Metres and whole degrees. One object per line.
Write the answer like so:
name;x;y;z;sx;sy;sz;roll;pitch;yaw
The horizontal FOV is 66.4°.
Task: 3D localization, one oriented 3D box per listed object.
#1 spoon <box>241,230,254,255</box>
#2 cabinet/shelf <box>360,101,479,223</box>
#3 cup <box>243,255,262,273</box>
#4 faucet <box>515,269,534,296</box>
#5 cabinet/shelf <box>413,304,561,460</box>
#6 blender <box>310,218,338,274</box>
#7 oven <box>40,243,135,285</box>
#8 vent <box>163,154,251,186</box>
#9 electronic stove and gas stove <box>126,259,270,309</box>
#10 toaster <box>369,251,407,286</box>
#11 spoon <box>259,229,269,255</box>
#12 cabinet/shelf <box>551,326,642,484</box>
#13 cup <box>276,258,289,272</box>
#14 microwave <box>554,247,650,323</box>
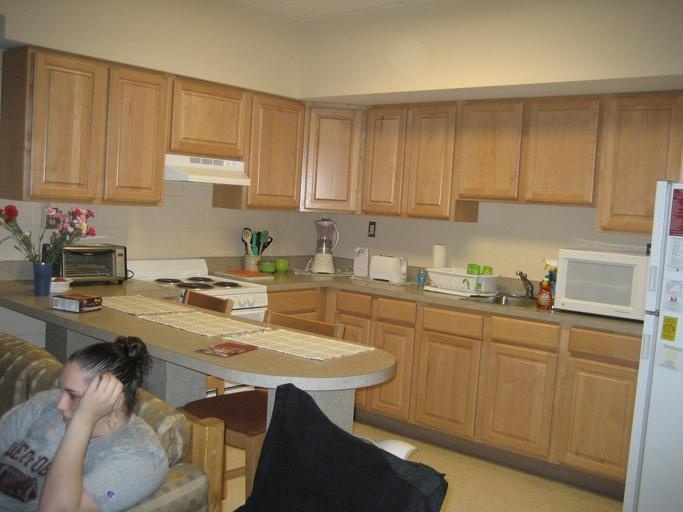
spoon;-0.825;-0.126;4.553;0.088;0.237;0.040;-3;1;-3
cabinet/shelf;0.687;-0.786;4.413;0.398;0.954;1.104;-4;11;-38
cup;-0.755;0.067;4.516;0.146;0.140;0.140;2;0;0
faucet;1.421;0.209;4.030;0.135;0.198;0.216;3;6;17
cabinet/shelf;1.058;0.871;3.642;1.121;0.919;0.392;6;5;33
blender;-0.156;-0.107;4.963;0.276;0.500;0.443;1;6;-2
oven;-1.708;0.066;3.731;0.471;0.251;0.326;-1;-2;-3
vent;-0.984;-0.656;3.939;0.666;0.208;0.205;-4;8;-44
electronic stove and gas stove;-1.053;0.169;3.974;0.524;0.270;0.690;-3;6;-40
toaster;0.375;0.104;4.454;0.408;0.258;0.226;2;1;42
spoon;-0.683;-0.130;4.719;0.097;0.217;0.186;0;6;-9
cabinet/shelf;1.602;0.963;3.522;0.669;0.946;0.658;23;-17;-36
cup;-0.530;0.083;4.766;0.125;0.108;0.113;1;-2;-5
microwave;1.849;0.196;3.524;0.448;0.415;0.626;1;3;-38
